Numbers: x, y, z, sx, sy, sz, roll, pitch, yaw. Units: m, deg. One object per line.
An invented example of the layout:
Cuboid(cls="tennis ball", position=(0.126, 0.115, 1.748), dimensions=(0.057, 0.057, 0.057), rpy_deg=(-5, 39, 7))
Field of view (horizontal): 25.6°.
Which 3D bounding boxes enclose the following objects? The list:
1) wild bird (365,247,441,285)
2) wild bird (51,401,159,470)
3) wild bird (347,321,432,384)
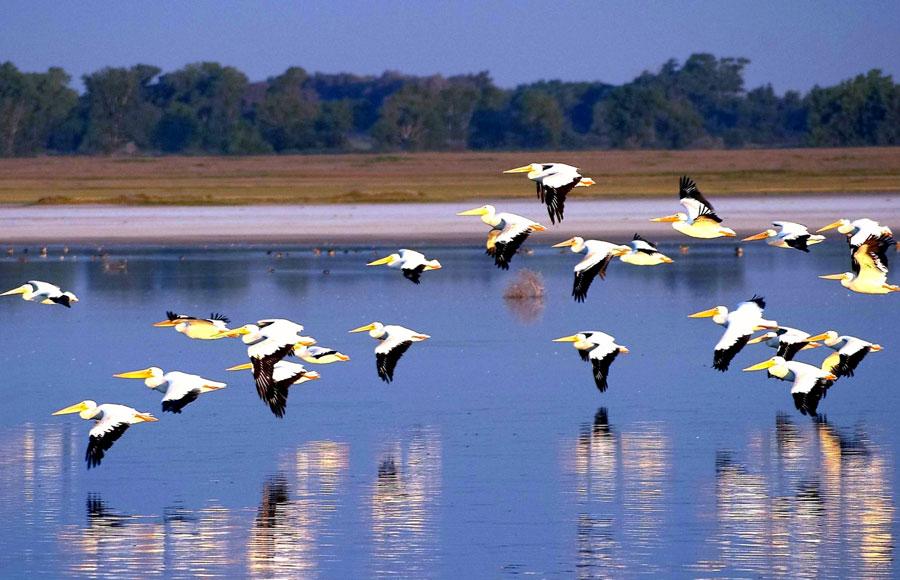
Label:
Cuboid(cls="wild bird", position=(-1.172, -0.512, 49.826), dimensions=(1.612, 0.975, 2.981), rpy_deg=(1, -4, 1))
Cuboid(cls="wild bird", position=(-6.628, 2.737, 37.794), dimensions=(1.612, 1.606, 0.539), rpy_deg=(-21, -55, 13))
Cuboid(cls="wild bird", position=(-1.149, 1.276, 40.103), dimensions=(0.864, 1.193, 0.809), rpy_deg=(1, -7, -22))
